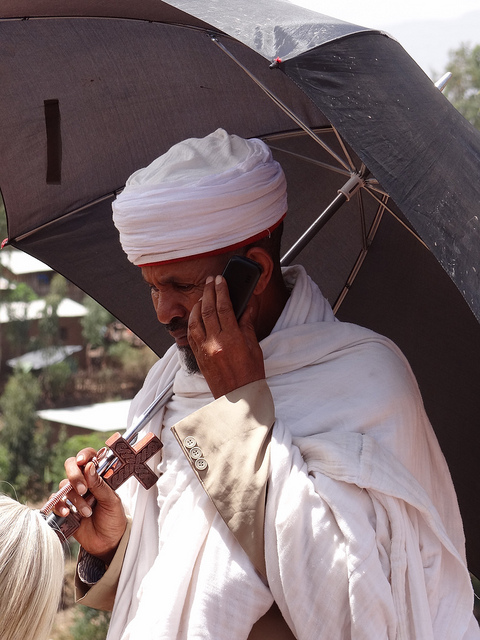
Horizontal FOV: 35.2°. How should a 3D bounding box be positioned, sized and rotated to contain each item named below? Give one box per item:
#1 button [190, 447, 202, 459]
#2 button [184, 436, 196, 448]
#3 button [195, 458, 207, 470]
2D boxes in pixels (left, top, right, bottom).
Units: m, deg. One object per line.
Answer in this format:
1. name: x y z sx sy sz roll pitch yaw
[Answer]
1. button: -0.114 0.344 1.972 0.030 0.013 0.032 -20 46 -27
2. button: -0.131 0.319 1.992 0.030 0.009 0.031 4 39 -3
3. button: -0.099 0.369 1.953 0.028 0.011 0.034 -15 44 -23
